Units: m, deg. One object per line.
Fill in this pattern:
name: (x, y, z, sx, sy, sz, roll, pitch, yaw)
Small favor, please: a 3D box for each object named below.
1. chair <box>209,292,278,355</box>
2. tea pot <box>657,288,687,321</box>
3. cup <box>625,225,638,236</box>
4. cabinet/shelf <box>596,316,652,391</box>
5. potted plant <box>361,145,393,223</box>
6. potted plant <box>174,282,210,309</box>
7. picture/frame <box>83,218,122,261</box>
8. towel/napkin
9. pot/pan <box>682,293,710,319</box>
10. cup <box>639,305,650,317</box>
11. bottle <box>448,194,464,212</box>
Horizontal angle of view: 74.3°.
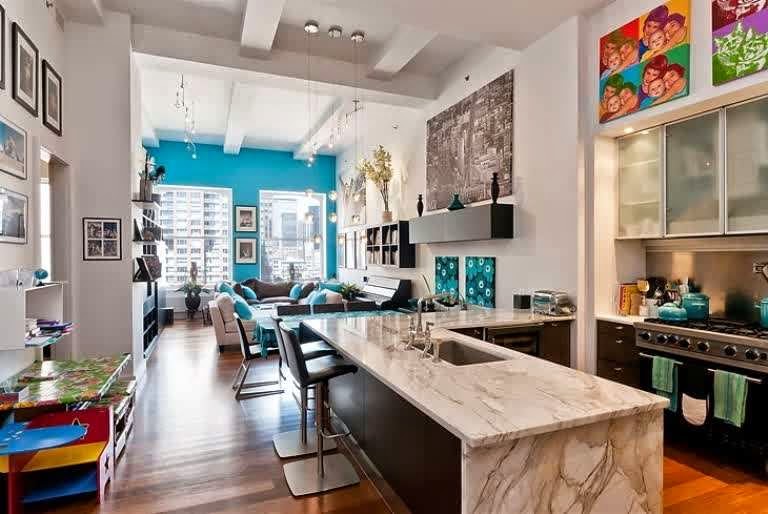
chair: (-2.410, 1.134, 8.729, 0.958, 0.939, 1.370, 0, 0, -22)
tea pot: (3.311, 0.548, 5.861, 0.337, 0.371, 0.333, 0, 1, 0)
cup: (3.005, -0.322, 6.160, 0.105, 0.112, 0.109, -1, 1, 0)
cabinet/shelf: (2.985, 1.131, 6.133, 0.666, 0.796, 0.697, -2, 4, -5)
potted plant: (-0.146, -1.532, 10.424, 0.617, 1.503, 1.225, -3, -1, -14)
potted plant: (-4.440, 0.918, 11.808, 0.621, 0.618, 0.626, -1, 0, -7)
picture/frame: (-3.889, -0.233, 6.995, 0.592, 0.713, 0.051, 0, -4, -23)
towel/napkin: (3.260, 1.373, 5.169, 0.052, 0.565, 0.777, -4, 11, -34)
pot/pan: (3.518, 0.553, 5.718, 0.273, 0.287, 0.276, 0, -4, -10)
cup: (3.144, 0.656, 6.167, 0.104, 0.144, 0.143, 0, 1, 3)
bottle: (1.134, -0.812, 7.896, 0.271, 0.244, 0.274, -2, -2, 43)
